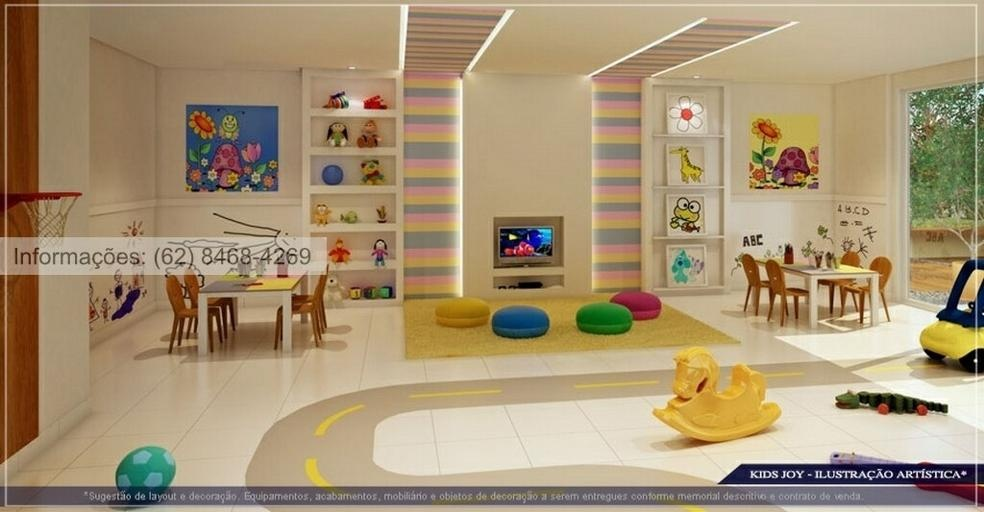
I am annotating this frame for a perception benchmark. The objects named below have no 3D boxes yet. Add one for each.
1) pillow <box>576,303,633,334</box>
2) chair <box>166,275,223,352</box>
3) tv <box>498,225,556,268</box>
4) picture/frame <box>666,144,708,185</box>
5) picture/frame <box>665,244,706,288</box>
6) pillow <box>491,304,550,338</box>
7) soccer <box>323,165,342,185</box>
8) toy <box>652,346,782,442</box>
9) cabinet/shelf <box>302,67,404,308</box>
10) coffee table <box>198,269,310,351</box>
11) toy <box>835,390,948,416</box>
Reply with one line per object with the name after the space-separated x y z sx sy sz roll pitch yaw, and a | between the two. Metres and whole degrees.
1.913 1.093 10.164 0.669 0.276 0.676 -1 1 45 | pillow
-4.869 0.932 9.647 0.965 1.037 0.799 5 4 -24 | chair
0.687 -0.194 12.247 1.128 0.627 0.104 0 -1 -8 | tv
4.188 -1.951 12.529 1.093 0.866 0.064 -5 4 -25 | picture/frame
4.218 0.212 12.607 1.131 0.896 0.127 1 -4 -23 | picture/frame
0.496 1.125 10.038 0.727 0.286 0.669 0 3 19 | pillow
-3.181 -1.625 11.660 0.421 0.402 0.141 -4 8 -16 | soccer
2.913 1.818 7.552 1.430 0.776 0.422 0 -3 -17 | toy
-2.758 -1.544 11.717 2.930 6.327 1.052 0 3 -7 | cabinet/shelf
-4.195 0.933 10.435 1.528 0.863 2.230 -1 4 -12 | coffee table
5.339 1.973 7.817 1.009 0.199 0.244 2 -3 14 | toy
